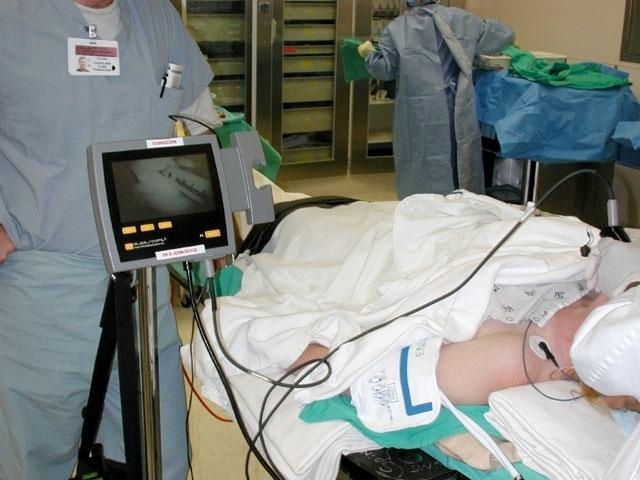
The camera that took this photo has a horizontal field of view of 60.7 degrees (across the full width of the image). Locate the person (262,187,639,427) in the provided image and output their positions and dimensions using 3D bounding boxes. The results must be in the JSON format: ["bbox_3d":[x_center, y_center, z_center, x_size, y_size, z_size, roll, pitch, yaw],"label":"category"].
[{"bbox_3d":[0.410,0.262,1.442,0.704,0.236,0.542,-15,32,-1],"label":"person"}]

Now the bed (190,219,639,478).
[{"bbox_3d":[0.216,0.280,1.577,0.741,0.254,0.593,-6,17,-21],"label":"bed"}]
